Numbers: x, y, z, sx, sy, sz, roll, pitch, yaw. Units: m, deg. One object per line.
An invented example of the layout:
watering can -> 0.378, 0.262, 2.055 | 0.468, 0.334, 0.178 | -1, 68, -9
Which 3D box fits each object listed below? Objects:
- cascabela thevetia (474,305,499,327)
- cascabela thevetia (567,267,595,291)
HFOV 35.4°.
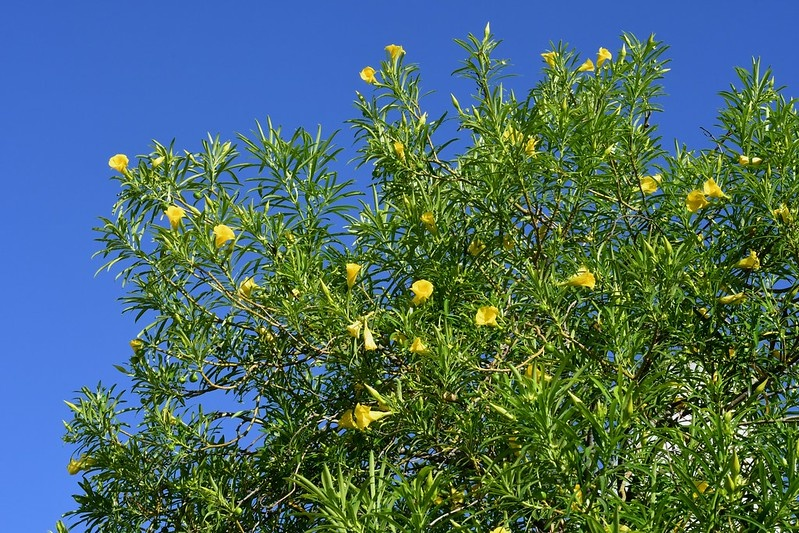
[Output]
cascabela thevetia -> 0.550, 0.296, 7.712 | 0.065, 0.122, 0.122 | 9, -76, -60
cascabela thevetia -> 1.140, 0.067, 7.860 | 0.184, 0.100, 0.092 | -6, -15, 36
